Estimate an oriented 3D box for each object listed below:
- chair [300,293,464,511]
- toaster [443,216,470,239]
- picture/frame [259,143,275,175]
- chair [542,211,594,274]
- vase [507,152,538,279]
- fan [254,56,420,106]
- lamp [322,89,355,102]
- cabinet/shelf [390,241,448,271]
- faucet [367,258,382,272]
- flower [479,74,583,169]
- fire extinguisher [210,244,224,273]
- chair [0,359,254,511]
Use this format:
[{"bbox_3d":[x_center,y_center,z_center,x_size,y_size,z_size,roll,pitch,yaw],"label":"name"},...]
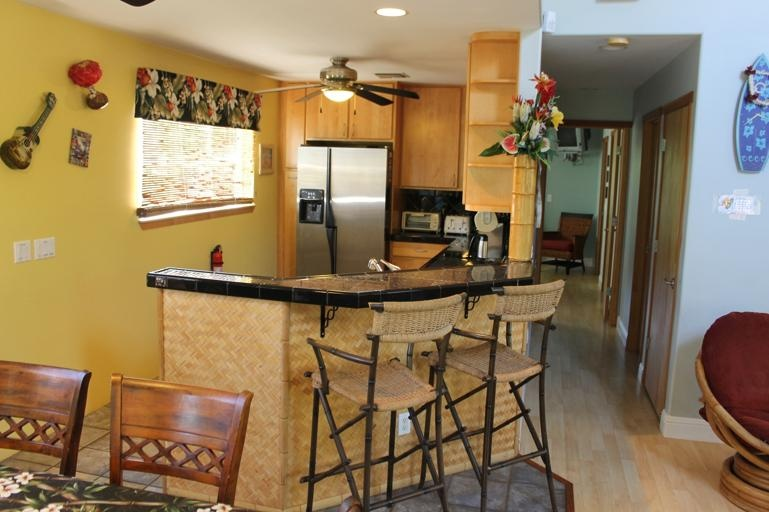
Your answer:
[{"bbox_3d":[-0.047,0.978,3.669,0.948,1.554,0.720,1,7,-9],"label":"chair"},{"bbox_3d":[0.902,-0.363,7.226,0.331,0.268,0.132,2,7,5],"label":"toaster"},{"bbox_3d":[-1.452,-1.183,7.043,0.029,0.374,0.410,4,7,22],"label":"picture/frame"},{"bbox_3d":[3.442,-0.251,10.961,0.867,1.112,1.087,4,7,19],"label":"chair"},{"bbox_3d":[1.122,-0.376,4.673,0.206,0.843,0.410,3,7,12],"label":"vase"},{"bbox_3d":[-0.491,-1.877,6.142,0.880,0.231,0.867,1,3,-28],"label":"fan"},{"bbox_3d":[-0.476,-1.548,5.573,0.284,0.098,0.284,3,10,17],"label":"lamp"},{"bbox_3d":[0.387,-0.031,7.068,0.613,0.579,0.372,1,1,4],"label":"cabinet/shelf"},{"bbox_3d":[-0.081,0.085,4.655,0.083,0.097,0.252,-26,-3,-5],"label":"faucet"},{"bbox_3d":[1.128,-1.066,4.826,0.731,0.661,0.768,-8,11,-34],"label":"flower"},{"bbox_3d":[-1.805,0.016,6.180,0.141,0.262,0.349,-1,7,-17],"label":"fire extinguisher"},{"bbox_3d":[-1.236,0.856,3.200,0.700,1.174,0.783,5,-4,9],"label":"chair"}]
